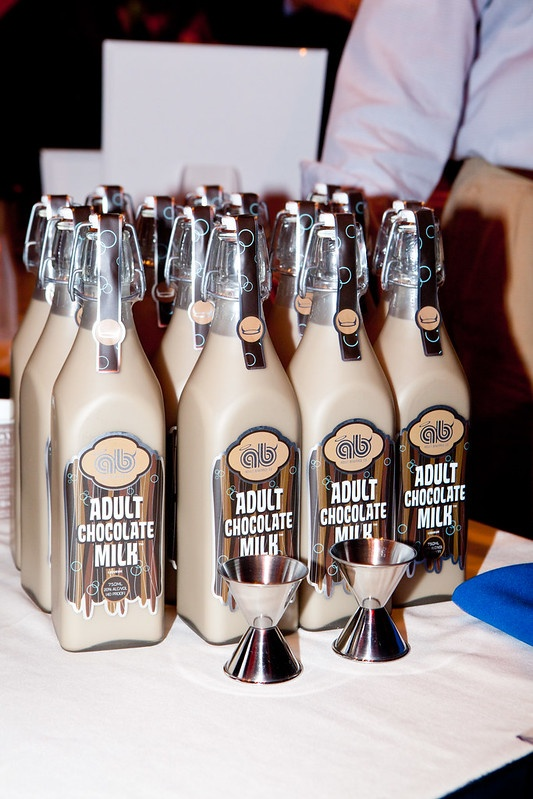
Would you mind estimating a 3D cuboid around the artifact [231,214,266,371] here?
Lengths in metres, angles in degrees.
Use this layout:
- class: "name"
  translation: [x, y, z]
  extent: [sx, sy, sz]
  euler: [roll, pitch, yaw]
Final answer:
- class: "artifact"
  translation: [-0.009, -0.075, 0.478]
  extent: [0.018, 0.077, 0.031]
  euler: [1, 1, 30]

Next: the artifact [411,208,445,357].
- class: "artifact"
  translation: [0.131, -0.094, 0.549]
  extent: [0.033, 0.103, 0.008]
  euler: [1, 1, -31]

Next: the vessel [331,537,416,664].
- class: "vessel"
  translation: [0.075, 0.146, 0.483]
  extent: [0.058, 0.077, 0.059]
  euler: [-1, 1, -27]

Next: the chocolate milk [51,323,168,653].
- class: "chocolate milk"
  translation: [-0.116, 0.033, 0.506]
  extent: [0.089, 0.296, 0.087]
  euler: [-2, 3, -45]

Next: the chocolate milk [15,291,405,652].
- class: "chocolate milk"
  translation: [-0.037, 0.058, 0.496]
  extent: [0.234, 0.281, 0.080]
  euler: [-3, 15, -15]

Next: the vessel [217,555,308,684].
- class: "vessel"
  translation: [-0.002, 0.140, 0.456]
  extent: [0.070, 0.093, 0.072]
  euler: [1, -1, 1]

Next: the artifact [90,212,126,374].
- class: "artifact"
  translation: [-0.105, -0.070, 0.453]
  extent: [0.021, 0.105, 0.014]
  euler: [1, 1, -16]
